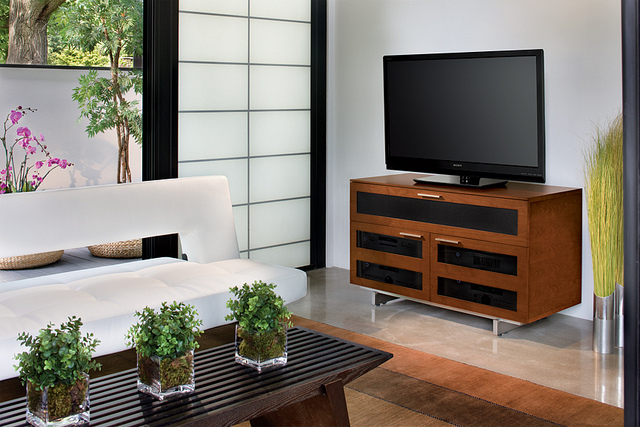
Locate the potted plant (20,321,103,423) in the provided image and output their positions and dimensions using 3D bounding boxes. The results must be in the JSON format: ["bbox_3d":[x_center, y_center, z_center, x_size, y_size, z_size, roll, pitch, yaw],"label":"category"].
[{"bbox_3d":[-0.791,0.475,1.421,0.228,0.278,0.224,-5,11,-23],"label":"potted plant"}]

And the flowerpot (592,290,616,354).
[{"bbox_3d":[1.830,0.700,3.023,0.140,0.380,0.145,6,12,29],"label":"flowerpot"}]

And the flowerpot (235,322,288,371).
[{"bbox_3d":[-0.218,0.494,1.766,0.185,0.119,0.172,4,-5,-24],"label":"flowerpot"}]

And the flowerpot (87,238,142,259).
[{"bbox_3d":[-1.906,0.326,4.412,0.405,0.125,0.382,1,-1,-33],"label":"flowerpot"}]

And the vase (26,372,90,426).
[{"bbox_3d":[-0.760,0.556,1.384,0.167,0.140,0.157,0,0,-28],"label":"vase"}]

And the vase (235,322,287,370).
[{"bbox_3d":[-0.201,0.488,1.788,0.180,0.153,0.172,0,1,-43],"label":"vase"}]

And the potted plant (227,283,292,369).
[{"bbox_3d":[-0.219,0.408,1.761,0.235,0.299,0.199,-2,11,-11],"label":"potted plant"}]

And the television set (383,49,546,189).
[{"bbox_3d":[1.075,-0.712,3.605,0.412,1.008,1.499,-19,21,-30],"label":"television set"}]

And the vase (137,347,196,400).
[{"bbox_3d":[-0.496,0.511,1.573,0.168,0.144,0.165,-2,4,-36],"label":"vase"}]

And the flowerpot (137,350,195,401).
[{"bbox_3d":[-0.516,0.533,1.577,0.185,0.114,0.172,0,-6,5],"label":"flowerpot"}]

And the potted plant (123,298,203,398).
[{"bbox_3d":[-0.514,0.469,1.598,0.246,0.239,0.185,5,-12,-36],"label":"potted plant"}]
